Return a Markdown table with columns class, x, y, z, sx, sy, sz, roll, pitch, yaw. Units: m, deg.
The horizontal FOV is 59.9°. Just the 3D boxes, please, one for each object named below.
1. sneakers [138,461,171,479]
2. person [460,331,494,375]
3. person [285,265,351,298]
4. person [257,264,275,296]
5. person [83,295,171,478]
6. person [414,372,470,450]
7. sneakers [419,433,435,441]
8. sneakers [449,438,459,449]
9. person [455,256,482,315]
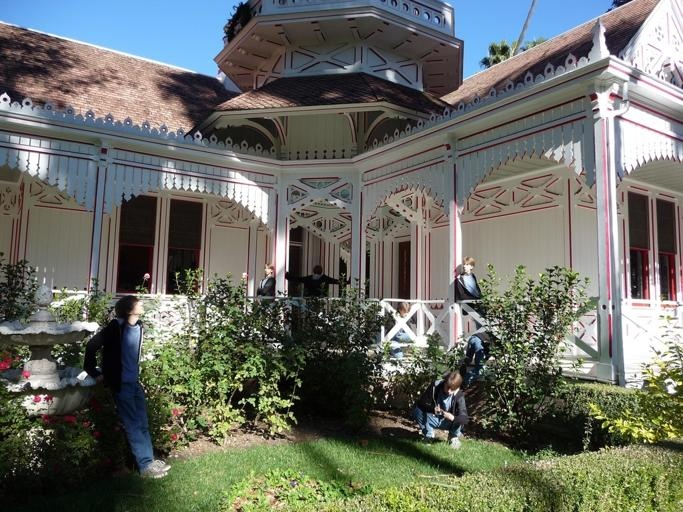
| class | x | y | z | sx | sy | sz | roll | pitch | yaw |
| --- | --- | --- | --- | --- | --- | --- | --- | --- | --- |
| sneakers | -2.384 | 2.738 | 7.564 | 0.308 | 0.124 | 0.176 | 14 | 20 | -42 |
| person | 2.314 | 1.637 | 9.909 | 0.376 | 0.746 | 0.995 | 3 | -7 | -6 |
| person | -0.649 | 0.615 | 14.859 | 1.038 | 1.091 | 0.282 | 1 | -5 | 16 |
| person | -1.681 | 0.518 | 13.276 | 0.398 | 0.809 | 1.520 | 3 | -7 | -7 |
| person | -2.766 | 1.655 | 7.637 | 1.090 | 2.302 | 0.394 | 6 | -8 | -23 |
| person | 1.646 | 2.391 | 9.349 | 0.838 | 1.114 | 0.741 | 8 | -2 | 29 |
| sneakers | 1.333 | 2.827 | 9.236 | 0.162 | 0.096 | 0.213 | -1 | 0 | 18 |
| sneakers | 1.743 | 2.852 | 9.040 | 0.162 | 0.128 | 0.213 | 1 | -7 | 10 |
| person | 2.397 | 0.540 | 11.278 | 0.490 | 1.091 | 1.033 | 1 | -7 | 10 |
